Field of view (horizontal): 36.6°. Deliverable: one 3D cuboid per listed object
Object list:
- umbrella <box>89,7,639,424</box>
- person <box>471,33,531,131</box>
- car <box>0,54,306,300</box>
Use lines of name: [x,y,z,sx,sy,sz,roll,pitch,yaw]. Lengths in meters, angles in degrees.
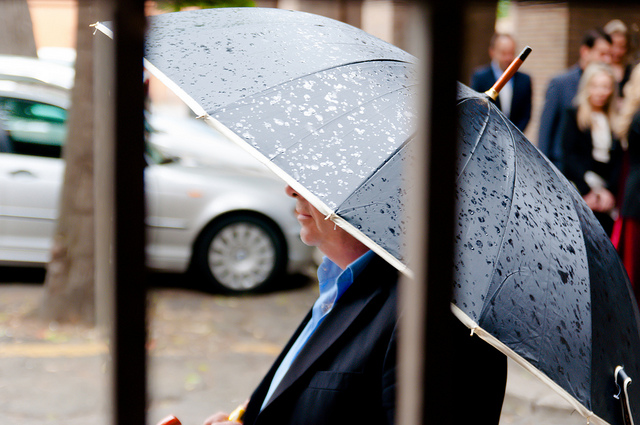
umbrella: [0.189,-0.147,5.953,2.597,1.043,2.554,41,-12,-24]
person: [2.093,-1.448,10.099,0.470,0.406,1.325,21,37,-2]
car: [-1.388,-0.110,8.943,3.212,1.264,1.467,2,3,-17]
